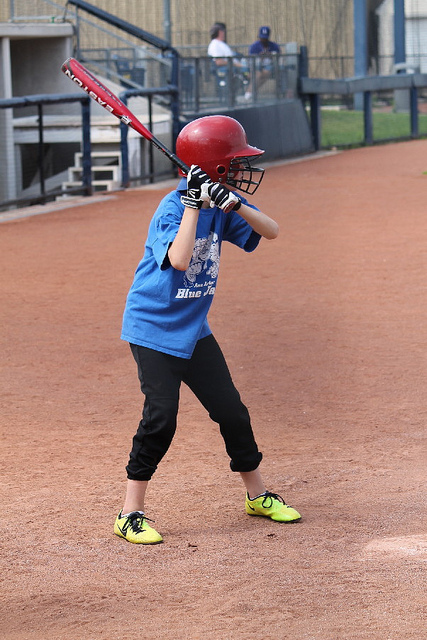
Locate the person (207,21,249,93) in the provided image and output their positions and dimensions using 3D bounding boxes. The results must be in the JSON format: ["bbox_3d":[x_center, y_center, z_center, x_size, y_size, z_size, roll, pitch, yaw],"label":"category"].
[{"bbox_3d":[0.359,-4.576,13.994,0.803,1.324,0.612,-6,13,16],"label":"person"}]

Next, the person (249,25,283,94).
[{"bbox_3d":[0.970,-4.772,14.641,0.588,1.442,1.459,0,5,6],"label":"person"}]

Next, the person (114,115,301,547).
[{"bbox_3d":[-0.033,0.029,2.811,0.658,1.506,0.682,-1,6,-7],"label":"person"}]
